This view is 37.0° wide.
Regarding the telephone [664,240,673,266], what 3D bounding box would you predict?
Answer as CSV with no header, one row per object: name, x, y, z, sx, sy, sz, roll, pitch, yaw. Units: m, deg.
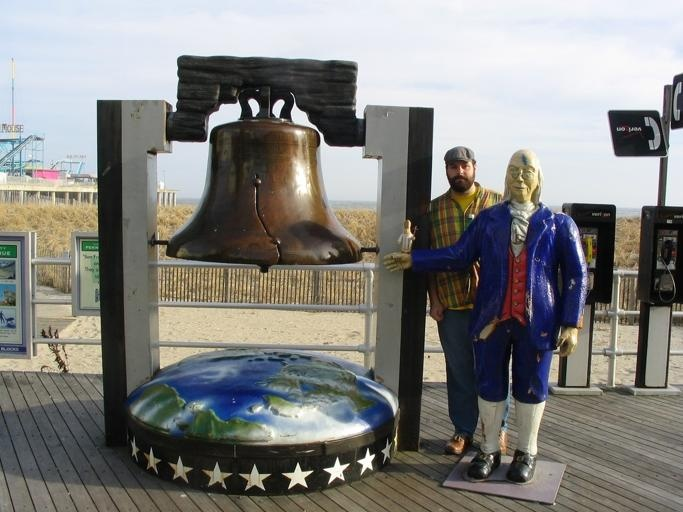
telephone,3.052,-0.031,9.511,0.091,0.224,0.022,0,3,-15

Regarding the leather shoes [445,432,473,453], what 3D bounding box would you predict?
leather shoes,0.890,1.463,7.857,0.092,0.107,0.271,-3,-13,25

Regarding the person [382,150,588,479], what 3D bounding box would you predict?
person,1.202,0.440,7.438,1.120,2.397,0.330,2,3,26
